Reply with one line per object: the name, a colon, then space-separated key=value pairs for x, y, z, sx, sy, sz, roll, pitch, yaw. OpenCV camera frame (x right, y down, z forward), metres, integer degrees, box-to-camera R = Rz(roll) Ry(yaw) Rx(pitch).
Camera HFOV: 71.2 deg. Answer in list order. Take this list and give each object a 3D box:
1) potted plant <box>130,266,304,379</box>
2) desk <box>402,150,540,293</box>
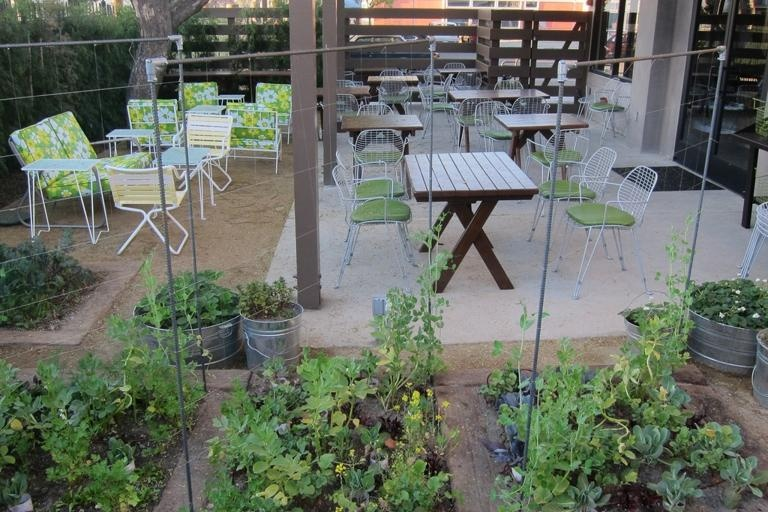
potted plant: x=-1.108 y=0.353 z=3.588 sx=0.958 sy=0.834 sz=0.748 roll=-17 pitch=25 yaw=-34
desk: x=0.776 y=-0.303 z=5.329 sx=0.969 sy=0.906 sz=1.841 roll=-1 pitch=14 yaw=0
